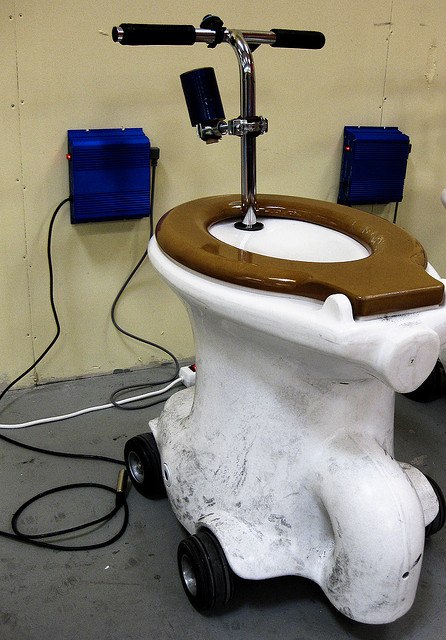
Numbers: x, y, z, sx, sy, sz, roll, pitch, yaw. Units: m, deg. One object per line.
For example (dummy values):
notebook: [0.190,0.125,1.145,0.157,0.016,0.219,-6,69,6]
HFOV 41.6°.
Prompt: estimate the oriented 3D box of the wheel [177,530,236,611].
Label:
wheel: [-0.020,0.316,0.744,0.057,0.094,0.093,-11,56,-20]

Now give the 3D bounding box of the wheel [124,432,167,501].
wheel: [-0.122,0.235,0.939,0.057,0.104,0.108,-6,11,-30]

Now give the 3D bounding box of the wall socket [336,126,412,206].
wall socket: [0.370,-0.366,1.421,0.193,0.191,0.069,-6,27,-17]
